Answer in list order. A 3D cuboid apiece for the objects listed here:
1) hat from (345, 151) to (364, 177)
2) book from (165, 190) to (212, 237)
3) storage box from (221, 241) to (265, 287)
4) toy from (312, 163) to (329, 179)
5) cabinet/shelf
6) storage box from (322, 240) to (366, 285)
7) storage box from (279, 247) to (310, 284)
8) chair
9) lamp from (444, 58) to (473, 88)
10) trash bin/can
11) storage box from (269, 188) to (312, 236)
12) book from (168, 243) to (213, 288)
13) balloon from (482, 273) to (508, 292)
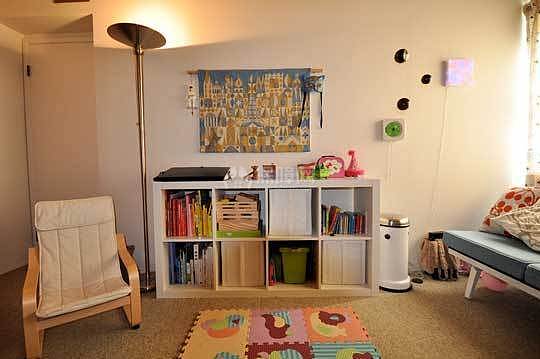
[{"bbox_3d":[0.999,-0.183,4.838,0.223,0.307,0.372,1,6,13],"label":"hat"},{"bbox_3d":[-0.933,0.400,4.742,0.657,0.630,0.475,1,-2,-24],"label":"book"},{"bbox_3d":[-0.303,0.954,4.871,0.503,0.497,0.503,-1,1,1],"label":"storage box"},{"bbox_3d":[0.577,-0.098,4.626,0.167,0.174,0.166,-3,11,-18],"label":"toy"},{"bbox_3d":[-0.071,0.580,4.751,2.435,1.356,0.707,0,10,-2],"label":"cabinet/shelf"},{"bbox_3d":[0.817,0.901,4.747,0.521,0.480,0.493,-1,-3,3],"label":"storage box"},{"bbox_3d":[0.264,0.953,4.816,0.457,0.455,0.373,0,-3,1],"label":"storage box"},{"bbox_3d":[-1.864,0.849,4.642,1.272,1.526,1.479,-3,8,-30],"label":"chair"},{"bbox_3d":[2.256,-1.257,5.030,0.330,0.312,0.310,0,4,2],"label":"lamp"},{"bbox_3d":[1.438,0.825,4.693,0.369,0.844,0.253,1,7,16],"label":"trash bin/can"},{"bbox_3d":[0.221,0.370,4.835,0.641,0.620,0.461,0,-2,-1],"label":"storage box"},{"bbox_3d":[-0.905,0.929,4.840,0.590,0.571,0.461,0,-4,-12],"label":"book"},{"bbox_3d":[2.458,1.108,4.478,0.207,0.178,0.173,35,33,2],"label":"balloon"}]
